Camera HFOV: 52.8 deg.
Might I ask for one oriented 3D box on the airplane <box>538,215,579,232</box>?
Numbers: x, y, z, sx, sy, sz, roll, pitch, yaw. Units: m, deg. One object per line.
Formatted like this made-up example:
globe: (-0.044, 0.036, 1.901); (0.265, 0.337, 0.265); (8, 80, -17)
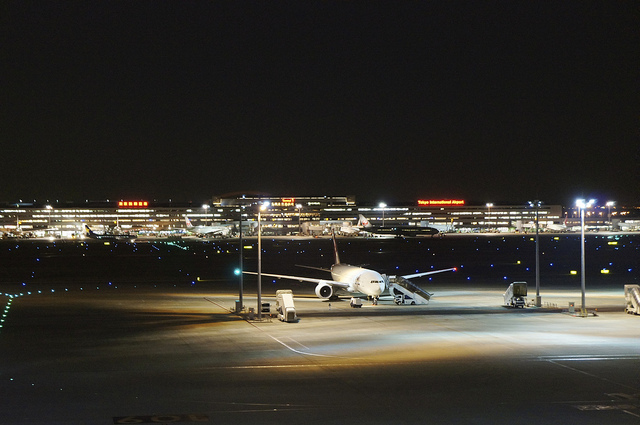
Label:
airplane: (110.948, 5.887, 299.962); (15.310, 8.387, 64.269); (0, -4, 21)

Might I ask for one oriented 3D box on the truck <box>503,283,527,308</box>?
truck: (18.278, 7.852, 60.698); (1.265, 2.256, 2.374); (3, -4, -27)
